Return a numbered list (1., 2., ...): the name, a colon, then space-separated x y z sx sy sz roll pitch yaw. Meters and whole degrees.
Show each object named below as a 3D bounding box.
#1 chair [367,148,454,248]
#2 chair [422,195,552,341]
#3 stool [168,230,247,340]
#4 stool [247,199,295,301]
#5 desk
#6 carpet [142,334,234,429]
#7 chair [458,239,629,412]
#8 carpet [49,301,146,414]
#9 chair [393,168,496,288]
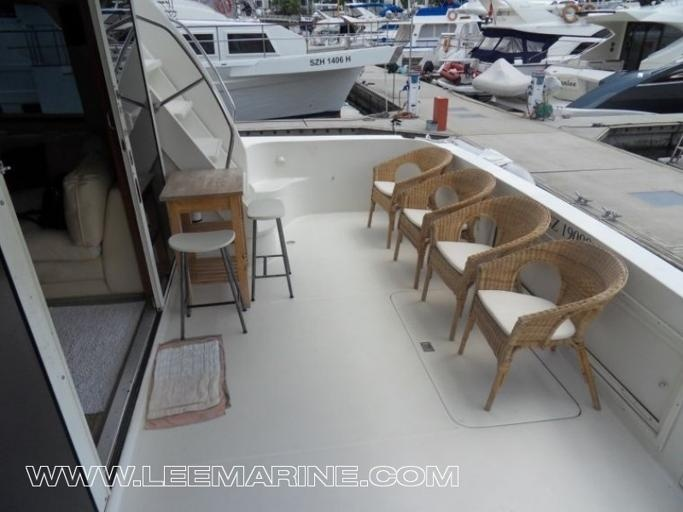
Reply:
1. chair: 0.624 -0.583 3.999 0.687 0.852 0.702 25 28 35
2. chair: 0.968 0.067 2.974 0.616 0.903 0.655 1 27 -7
3. stool: -0.881 0.180 2.837 0.434 0.663 0.382 -5 21 -12
4. stool: -0.597 -0.017 3.492 0.414 0.780 0.470 0 42 -9
5. desk: -0.887 -0.041 3.033 0.376 0.393 0.604 -14 70 0
6. carpet: -0.932 0.736 2.601 0.430 0.061 0.629 -3 41 -16
7. chair: 1.128 0.400 2.491 0.661 0.953 0.674 1 24 0
8. carpet: -1.517 0.556 2.639 0.459 0.040 0.690 0 43 -15
9. chair: 0.788 -0.258 3.479 0.675 0.890 0.687 23 29 28
